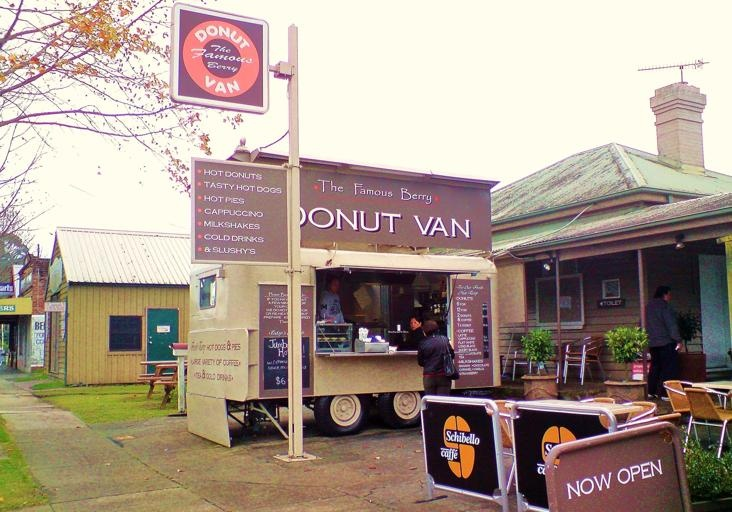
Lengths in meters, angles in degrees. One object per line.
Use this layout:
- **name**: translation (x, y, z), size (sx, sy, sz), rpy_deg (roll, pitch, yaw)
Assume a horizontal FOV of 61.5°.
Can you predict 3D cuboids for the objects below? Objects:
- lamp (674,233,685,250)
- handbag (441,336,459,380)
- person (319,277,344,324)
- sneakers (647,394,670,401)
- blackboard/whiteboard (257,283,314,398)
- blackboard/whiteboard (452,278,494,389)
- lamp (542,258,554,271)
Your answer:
- **lamp**: translation (5.800, -0.279, 11.446), size (0.189, 0.280, 0.255), rpy_deg (0, -3, -5)
- **handbag**: translation (1.460, 1.829, 10.857), size (0.242, 0.872, 0.798), rpy_deg (-9, -18, 13)
- **person**: translation (-0.696, 0.861, 12.050), size (0.437, 0.942, 1.255), rpy_deg (0, -5, -2)
- **sneakers**: translation (5.447, 2.664, 11.498), size (0.446, 0.162, 0.160), rpy_deg (-2, -5, 2)
- **blackboard/whiteboard**: translation (-1.433, 1.499, 10.969), size (1.045, 1.960, 0.237), rpy_deg (3, -6, -37)
- **blackboard/whiteboard**: translation (2.182, 1.561, 12.610), size (1.036, 2.210, 0.274), rpy_deg (3, -6, -36)
- **lamp**: translation (4.386, 0.243, 14.883), size (0.317, 0.288, 0.074), rpy_deg (12, 11, -46)
